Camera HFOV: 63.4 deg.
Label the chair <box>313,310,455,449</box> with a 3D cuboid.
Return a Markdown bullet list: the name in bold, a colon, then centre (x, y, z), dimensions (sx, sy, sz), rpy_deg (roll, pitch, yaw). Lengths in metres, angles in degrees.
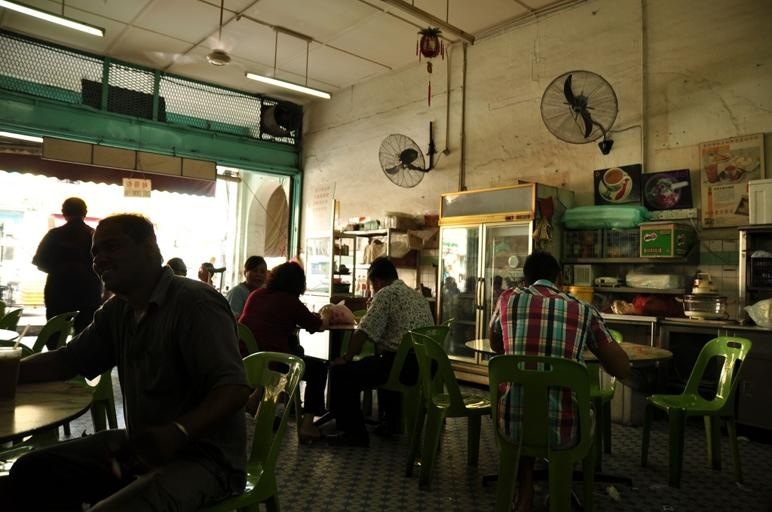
- **chair**: centre (-0.081, 1.447, 7.241), dimensions (1.439, 1.924, 1.146), rpy_deg (-2, -10, 26)

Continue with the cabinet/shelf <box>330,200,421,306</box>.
- **cabinet/shelf**: centre (-0.147, -0.042, 9.496), dimensions (0.795, 2.281, 1.344), rpy_deg (10, -14, -39)

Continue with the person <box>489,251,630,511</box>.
- **person**: centre (1.433, 1.068, 5.235), dimensions (1.073, 1.711, 0.650), rpy_deg (-1, 0, 9)

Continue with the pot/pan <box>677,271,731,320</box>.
- **pot/pan**: centre (3.689, 0.474, 7.321), dimensions (0.515, 0.489, 0.523), rpy_deg (1, -5, 10)

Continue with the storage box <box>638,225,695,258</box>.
- **storage box**: centre (3.475, -0.205, 7.672), dimensions (0.615, 0.445, 0.602), rpy_deg (2, 0, -15)

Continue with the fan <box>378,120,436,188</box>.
- **fan**: centre (0.289, -1.582, 10.421), dimensions (0.113, 0.924, 1.117), rpy_deg (-1, 1, -42)

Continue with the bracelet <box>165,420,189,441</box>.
- **bracelet**: centre (-1.327, 1.125, 3.968), dimensions (0.030, 0.104, 0.108), rpy_deg (-42, 16, -30)
